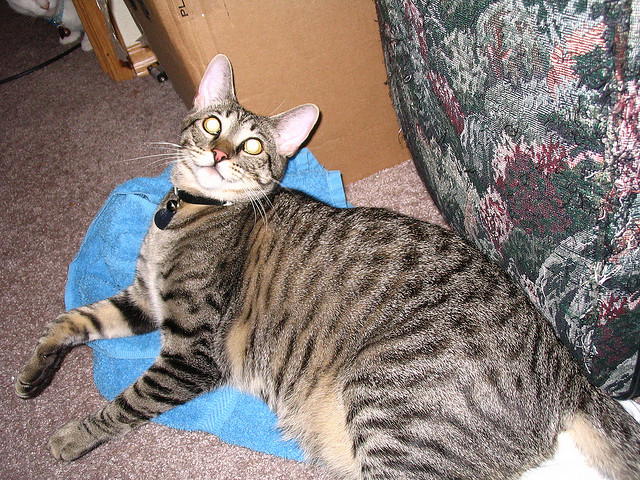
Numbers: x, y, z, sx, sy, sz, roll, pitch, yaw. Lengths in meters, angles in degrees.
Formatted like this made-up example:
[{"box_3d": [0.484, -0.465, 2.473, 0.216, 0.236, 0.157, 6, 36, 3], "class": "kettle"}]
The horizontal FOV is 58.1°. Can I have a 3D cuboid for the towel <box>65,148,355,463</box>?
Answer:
[{"box_3d": [-0.355, 0.357, 2.089, 0.888, 0.977, 0.950, -6, 35, -10], "class": "towel"}]
